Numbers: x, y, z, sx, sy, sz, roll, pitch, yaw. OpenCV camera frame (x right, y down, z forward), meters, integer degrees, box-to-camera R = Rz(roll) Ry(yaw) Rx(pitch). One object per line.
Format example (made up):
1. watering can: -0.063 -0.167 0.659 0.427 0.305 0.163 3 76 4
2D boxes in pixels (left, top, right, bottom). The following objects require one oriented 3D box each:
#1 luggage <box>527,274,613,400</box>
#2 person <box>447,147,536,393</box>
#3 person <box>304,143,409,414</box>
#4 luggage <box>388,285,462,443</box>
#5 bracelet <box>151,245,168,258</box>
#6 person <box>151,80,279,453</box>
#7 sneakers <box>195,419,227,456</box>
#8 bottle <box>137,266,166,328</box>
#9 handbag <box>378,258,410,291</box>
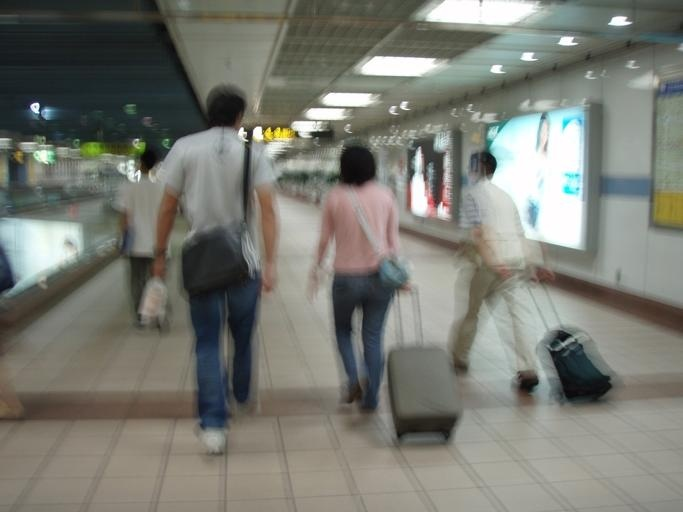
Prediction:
1. luggage: 1.815 0.829 3.818 0.547 0.504 0.358 -1 7 -18
2. person: 1.292 0.116 4.072 0.737 1.902 0.380 4 7 25
3. person: 0.077 0.186 3.308 0.588 1.834 0.279 2 7 6
4. luggage: 0.505 0.666 3.360 0.407 0.355 1.191 3 53 -6
5. bracelet: -1.318 -0.037 3.558 0.075 0.118 0.116 -5 -11 19
6. person: -0.766 0.050 2.995 0.542 2.140 0.570 -6 10 -44
7. sneakers: -0.735 1.059 2.875 0.154 0.164 0.055 -5 -5 0
8. bottle: -1.206 0.299 3.285 0.168 0.293 0.151 18 14 13
9. handbag: 0.323 0.118 3.186 0.162 0.209 0.085 -32 2 -18
